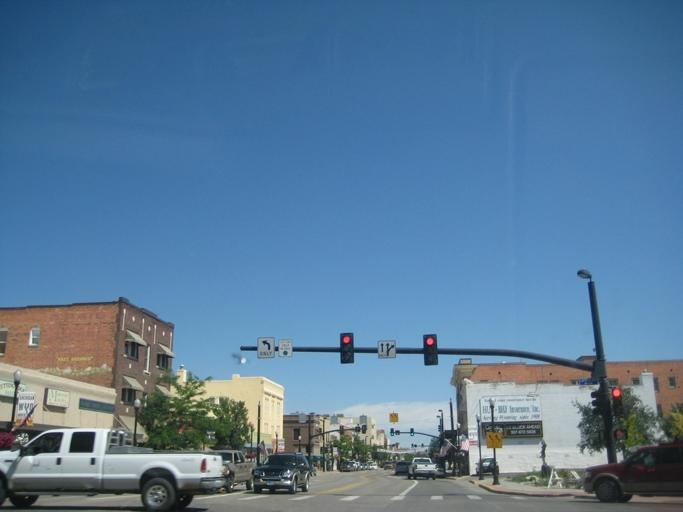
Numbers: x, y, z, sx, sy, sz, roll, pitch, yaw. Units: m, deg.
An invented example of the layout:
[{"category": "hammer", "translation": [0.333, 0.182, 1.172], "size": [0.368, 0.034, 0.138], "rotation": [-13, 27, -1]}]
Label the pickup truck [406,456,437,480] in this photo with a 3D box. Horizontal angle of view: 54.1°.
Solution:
[{"category": "pickup truck", "translation": [7.617, 20.891, 65.115], "size": [1.645, 1.517, 3.473], "rotation": [1, -11, -2]}]

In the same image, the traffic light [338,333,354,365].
[{"category": "traffic light", "translation": [0.311, 5.259, 37.794], "size": [0.759, 1.691, 1.276], "rotation": [-2, -17, -1]}]

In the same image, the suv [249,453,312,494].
[{"category": "suv", "translation": [-3.250, 12.483, 38.165], "size": [2.271, 2.297, 3.230], "rotation": [-12, -20, 27]}]

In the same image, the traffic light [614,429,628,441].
[{"category": "traffic light", "translation": [13.867, 8.944, 33.308], "size": [0.399, 0.519, 0.700], "rotation": [1, -18, -10]}]
